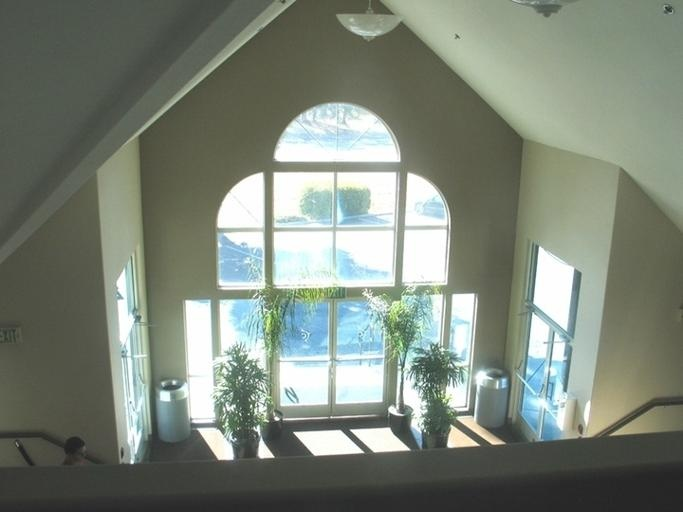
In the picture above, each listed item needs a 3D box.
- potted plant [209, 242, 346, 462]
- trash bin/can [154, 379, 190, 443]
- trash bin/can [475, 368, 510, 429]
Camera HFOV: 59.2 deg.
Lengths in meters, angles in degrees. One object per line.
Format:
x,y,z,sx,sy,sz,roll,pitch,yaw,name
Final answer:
-0.956,1.209,8.445,1.630,3.496,2.232,4,12,20,potted plant
-2.420,2.208,8.633,0.461,0.897,0.572,3,-12,-6,trash bin/can
2.308,2.186,9.262,0.543,0.929,0.533,-1,-12,15,trash bin/can
